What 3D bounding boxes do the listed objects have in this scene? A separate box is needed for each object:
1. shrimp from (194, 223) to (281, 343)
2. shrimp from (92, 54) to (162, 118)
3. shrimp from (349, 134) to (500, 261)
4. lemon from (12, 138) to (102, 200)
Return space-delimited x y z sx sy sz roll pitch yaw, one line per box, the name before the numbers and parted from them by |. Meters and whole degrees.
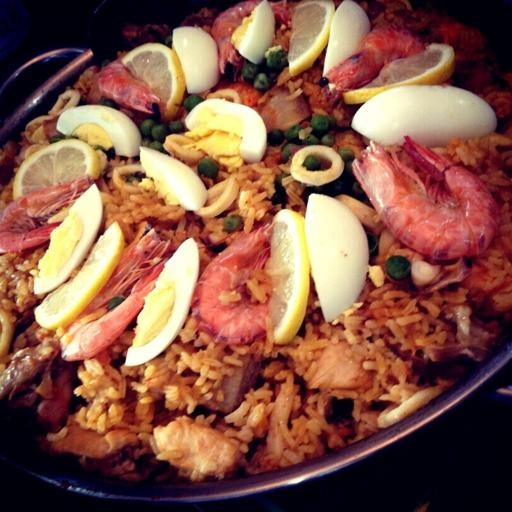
shrimp | -0.057 0.097 1.822 0.261 0.094 0.349 25 89 20
shrimp | -0.441 -0.676 2.250 0.273 0.201 0.277 14 30 29
shrimp | 0.512 -0.179 1.751 0.325 0.114 0.435 -38 74 6
lemon | -0.788 -0.372 2.198 0.450 0.207 0.243 -15 28 -22
